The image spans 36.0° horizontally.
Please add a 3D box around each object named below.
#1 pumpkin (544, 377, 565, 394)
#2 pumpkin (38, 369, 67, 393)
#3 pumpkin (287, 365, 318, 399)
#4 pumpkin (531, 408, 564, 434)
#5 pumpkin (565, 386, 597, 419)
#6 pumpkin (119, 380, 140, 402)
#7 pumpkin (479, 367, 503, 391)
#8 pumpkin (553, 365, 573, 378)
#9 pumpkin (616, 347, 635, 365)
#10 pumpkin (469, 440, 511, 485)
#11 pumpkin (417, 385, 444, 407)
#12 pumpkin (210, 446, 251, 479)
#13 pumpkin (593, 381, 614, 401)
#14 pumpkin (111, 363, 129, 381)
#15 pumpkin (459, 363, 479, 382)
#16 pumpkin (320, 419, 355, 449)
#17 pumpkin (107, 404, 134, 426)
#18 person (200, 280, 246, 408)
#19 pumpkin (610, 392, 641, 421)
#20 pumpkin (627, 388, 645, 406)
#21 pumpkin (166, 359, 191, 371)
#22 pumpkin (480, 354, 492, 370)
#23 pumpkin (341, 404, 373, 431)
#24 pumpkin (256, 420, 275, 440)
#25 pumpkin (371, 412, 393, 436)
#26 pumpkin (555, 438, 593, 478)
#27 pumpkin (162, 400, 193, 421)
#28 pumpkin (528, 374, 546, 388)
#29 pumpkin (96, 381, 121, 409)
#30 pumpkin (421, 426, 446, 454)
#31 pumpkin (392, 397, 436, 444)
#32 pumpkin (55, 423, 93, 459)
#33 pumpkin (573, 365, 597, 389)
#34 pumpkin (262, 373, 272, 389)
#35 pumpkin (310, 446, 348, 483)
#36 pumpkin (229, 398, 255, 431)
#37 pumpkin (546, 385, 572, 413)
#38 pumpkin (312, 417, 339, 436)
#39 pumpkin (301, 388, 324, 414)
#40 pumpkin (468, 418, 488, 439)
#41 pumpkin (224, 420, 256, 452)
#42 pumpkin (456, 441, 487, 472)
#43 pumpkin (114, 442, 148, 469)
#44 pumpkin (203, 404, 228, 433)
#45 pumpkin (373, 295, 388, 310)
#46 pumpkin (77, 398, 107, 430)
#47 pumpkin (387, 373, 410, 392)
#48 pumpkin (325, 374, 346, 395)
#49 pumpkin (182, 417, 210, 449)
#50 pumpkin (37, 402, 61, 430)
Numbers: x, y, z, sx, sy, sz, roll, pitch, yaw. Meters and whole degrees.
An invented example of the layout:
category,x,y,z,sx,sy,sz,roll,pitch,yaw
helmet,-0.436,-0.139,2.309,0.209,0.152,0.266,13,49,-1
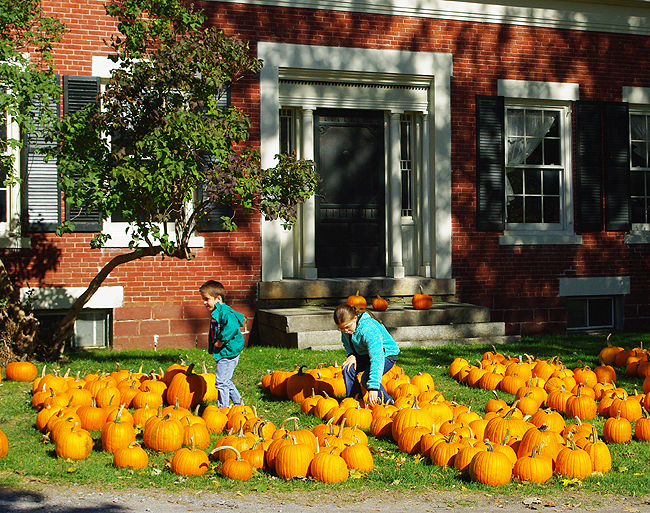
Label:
category,x,y,z,sx,sy,sz,roll,pitch,yaw
pumpkin,2.784,1.573,12.308,0.167,0.191,0.184,-1,10,16
pumpkin,-3.242,1.498,11.945,0.221,0.250,0.239,4,7,27
pumpkin,-0.296,1.495,12.149,0.340,0.526,0.367,3,-4,-10
pumpkin,2.479,1.807,11.156,0.250,0.273,0.262,4,8,-22
pumpkin,3.024,1.703,11.887,0.346,0.372,0.529,1,-1,18
pumpkin,-2.296,1.581,11.797,0.189,0.291,0.208,6,-3,-8
pumpkin,2.084,1.557,12.722,0.202,0.242,0.211,0,-2,26
pumpkin,2.993,1.462,12.743,0.145,0.232,0.165,1,1,-14
pumpkin,4.212,1.395,14.170,0.180,0.200,0.193,0,8,32
pumpkin,1.565,2.044,9.952,0.408,0.299,0.489,2,5,-7
pumpkin,1.174,1.579,11.431,0.178,0.203,0.178,-3,2,-36
pumpkin,-0.903,2.074,10.027,0.361,0.327,0.285,1,-7,4
pumpkin,3.383,1.626,12.239,0.181,0.204,0.202,1,7,9
pumpkin,-2.503,1.427,12.424,0.168,0.262,0.179,2,-6,-34
pumpkin,1.839,1.505,13.047,0.179,0.203,0.196,-1,8,0
pumpkin,0.124,1.844,10.358,0.269,0.293,0.264,0,-1,-42
pumpkin,-2.187,1.712,10.792,0.256,0.404,0.262,-2,3,-5
person,-1.169,1.048,11.533,0.488,1.513,0.474,-2,4,-40
pumpkin,3.470,1.734,11.653,0.256,0.277,0.277,-1,6,-11
pumpkin,3.682,1.678,11.955,0.167,0.263,0.179,-1,1,-14
pumpkin,-1.912,1.410,13.089,0.185,0.216,0.182,-2,-6,45
pumpkin,2.108,1.405,13.284,0.117,0.188,0.126,4,2,32
pumpkin,0.350,1.777,11.123,0.263,0.283,0.263,-1,4,-37
pumpkin,-0.621,1.807,10.545,0.149,0.215,0.178,-1,13,-3
pumpkin,0.626,1.826,11.002,0.183,0.205,0.196,2,7,-11
pumpkin,2.511,2.025,10.144,0.278,0.384,0.304,-4,-3,37
pumpkin,-1.603,1.682,10.864,0.200,0.222,0.223,2,-2,-8
pumpkin,2.571,1.521,12.300,0.155,0.246,0.177,1,-5,-9
pumpkin,-2.479,1.589,11.581,0.211,0.318,0.244,-1,0,9
pumpkin,1.098,1.887,10.404,0.225,0.371,0.242,-4,-4,23
pumpkin,0.941,1.753,10.758,0.412,0.353,0.435,-1,5,-2
pumpkin,-2.573,1.879,10.308,0.291,0.349,0.306,0,-4,-2
pumpkin,3.283,1.532,12.757,0.234,0.330,0.229,11,-14,-40
pumpkin,-0.733,1.562,12.619,0.140,0.161,0.147,1,4,-21
pumpkin,0.040,2.045,9.910,0.266,0.292,0.284,9,-6,-16
pumpkin,-0.902,1.724,10.981,0.274,0.406,0.275,5,-6,-44
pumpkin,2.767,1.682,11.926,0.225,0.248,0.241,1,8,-16
pumpkin,0.016,1.803,10.574,0.177,0.260,0.172,3,0,-24
pumpkin,-0.172,1.654,11.698,0.240,0.354,0.236,-4,1,-19
pumpkin,1.625,1.824,10.730,0.169,0.204,0.186,1,4,16
pumpkin,-0.868,1.831,10.254,0.240,0.258,0.238,5,-3,-31
pumpkin,1.436,1.997,10.037,0.242,0.266,0.262,-3,7,-8
pumpkin,-1.941,1.972,10.084,0.228,0.255,0.248,1,-4,-7
pumpkin,-1.240,1.811,11.077,0.249,0.253,0.249,11,19,-47
pumpkin,0.868,0.738,16.103,0.197,0.236,0.212,-6,-6,28
pumpkin,-2.568,1.728,11.059,0.251,0.274,0.254,-2,5,-36
pumpkin,0.867,1.519,12.153,0.169,0.184,0.183,-18,-4,5
pumpkin,0.121,1.577,12.338,0.184,0.203,0.195,1,4,31
pumpkin,-1.353,1.857,10.600,0.262,0.424,0.297,-2,-6,-9
pumpkin,-3.066,1.758,11.144,0.225,0.255,0.251,-3,7,5
